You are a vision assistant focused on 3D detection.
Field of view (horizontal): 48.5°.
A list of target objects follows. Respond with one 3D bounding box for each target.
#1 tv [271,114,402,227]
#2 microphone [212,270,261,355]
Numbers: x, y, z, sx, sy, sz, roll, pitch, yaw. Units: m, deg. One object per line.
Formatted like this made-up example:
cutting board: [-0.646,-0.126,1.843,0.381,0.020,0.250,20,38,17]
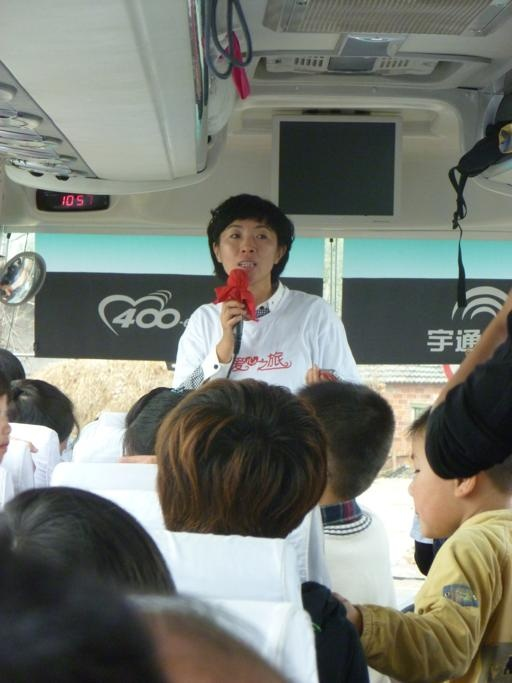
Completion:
tv: [0.396,-0.860,2.780,0.703,0.518,0.066,1,5,3]
microphone: [-0.087,-0.112,2.374,0.154,0.385,0.252,-2,13,-3]
